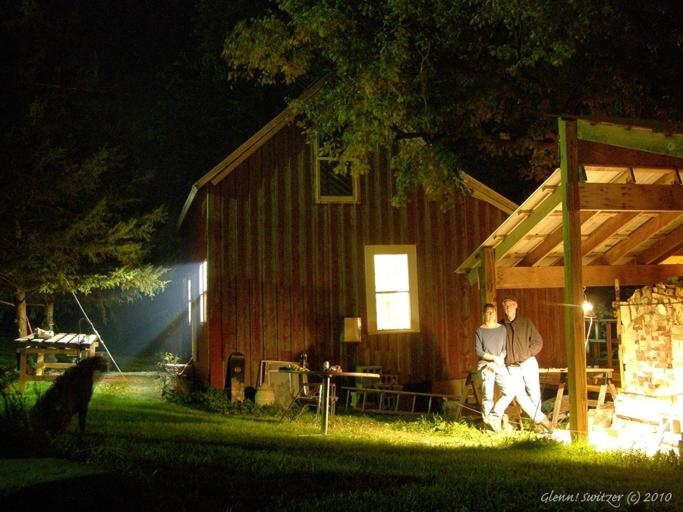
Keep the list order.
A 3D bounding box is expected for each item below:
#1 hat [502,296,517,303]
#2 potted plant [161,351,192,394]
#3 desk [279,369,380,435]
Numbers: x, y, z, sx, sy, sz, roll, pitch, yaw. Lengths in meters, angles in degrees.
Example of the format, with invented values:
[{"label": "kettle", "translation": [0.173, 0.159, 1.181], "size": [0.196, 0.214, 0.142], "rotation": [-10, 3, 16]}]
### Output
[{"label": "hat", "translation": [3.793, 0.971, 16.119], "size": [0.289, 0.148, 0.428], "rotation": [-3, -10, 21]}, {"label": "potted plant", "translation": [-5.134, 3.830, 22.166], "size": [0.838, 0.971, 1.962], "rotation": [7, -10, -22]}, {"label": "desk", "translation": [-0.264, 3.578, 18.345], "size": [2.851, 1.495, 6.125], "rotation": [3, -10, 0]}]
